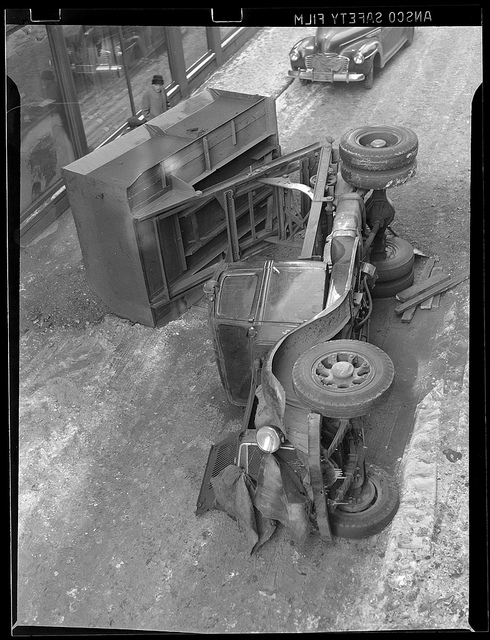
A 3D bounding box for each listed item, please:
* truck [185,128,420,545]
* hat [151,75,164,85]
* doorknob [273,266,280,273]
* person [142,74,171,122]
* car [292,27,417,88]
[{"bbox_3d":[0.644,0.153,6.184,2.345,1.997,5.343,4,44,15],"label":"truck"},{"bbox_3d":[-1.671,-4.586,10.321,0.207,0.114,0.207,3,24,5],"label":"hat"},{"bbox_3d":[0.335,-0.549,5.856,0.079,0.035,0.050,9,35,28],"label":"doorknob"},{"bbox_3d":[-1.790,-4.365,10.514,0.553,0.721,1.180,-11,31,-4],"label":"person"},{"bbox_3d":[2.435,-6.037,12.265,2.062,1.255,1.971,-32,38,-34],"label":"car"}]
